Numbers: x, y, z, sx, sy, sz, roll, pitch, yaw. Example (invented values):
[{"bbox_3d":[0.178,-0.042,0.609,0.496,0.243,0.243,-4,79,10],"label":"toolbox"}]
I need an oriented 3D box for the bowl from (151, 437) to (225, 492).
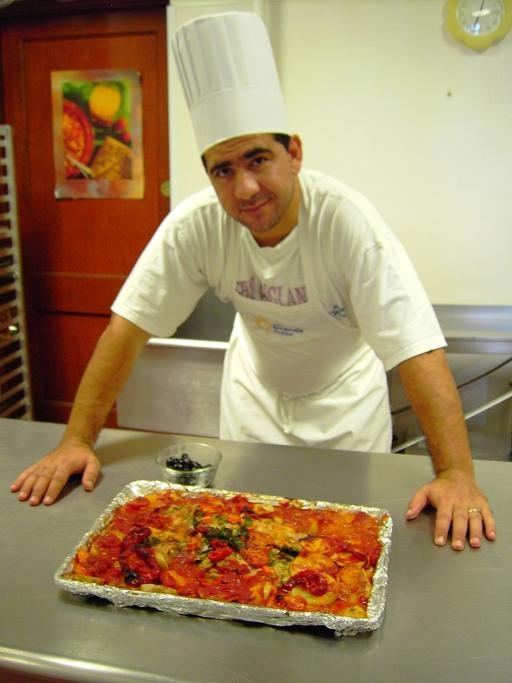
[{"bbox_3d":[-0.116,0.227,1.047,0.112,0.051,0.135,-10,16,-38],"label":"bowl"}]

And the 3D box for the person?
[{"bbox_3d":[0.002,-0.078,1.108,0.847,0.643,0.564,3,13,13],"label":"person"}]
